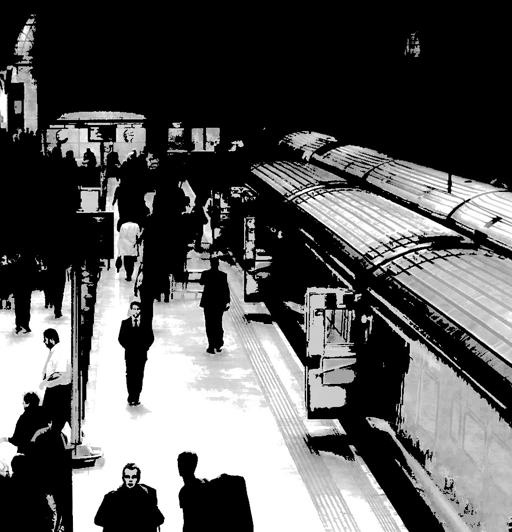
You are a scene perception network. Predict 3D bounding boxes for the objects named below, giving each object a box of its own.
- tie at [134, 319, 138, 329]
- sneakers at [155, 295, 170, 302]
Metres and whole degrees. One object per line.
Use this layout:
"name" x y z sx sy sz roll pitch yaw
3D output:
"tie" -1.438 0.679 8.265 0.043 0.091 0.052 -1 10 -10
"sneakers" -1.807 0.628 13.552 0.159 0.111 0.169 -1 7 1
